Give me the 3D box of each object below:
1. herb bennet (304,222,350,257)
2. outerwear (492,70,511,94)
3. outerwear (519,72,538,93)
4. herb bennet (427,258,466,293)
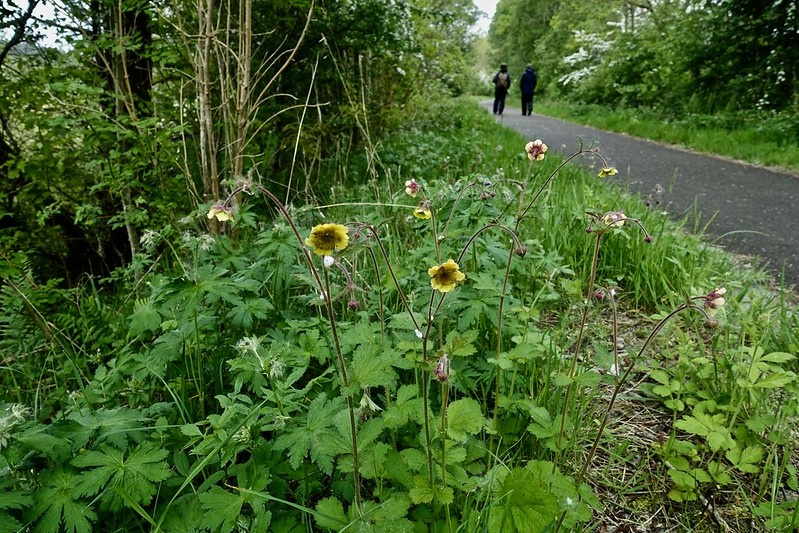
[{"bbox_3d":[-0.472,-0.163,4.042,0.321,0.230,0.205,14,25,22],"label":"herb bennet"},{"bbox_3d":[3.368,-6.195,19.409,0.512,0.762,0.759,-1,-13,7],"label":"outerwear"},{"bbox_3d":[4.056,-5.821,18.538,0.388,0.722,0.810,21,29,37],"label":"outerwear"},{"bbox_3d":[0.340,0.072,4.319,0.225,0.262,0.121,8,5,6],"label":"herb bennet"}]
